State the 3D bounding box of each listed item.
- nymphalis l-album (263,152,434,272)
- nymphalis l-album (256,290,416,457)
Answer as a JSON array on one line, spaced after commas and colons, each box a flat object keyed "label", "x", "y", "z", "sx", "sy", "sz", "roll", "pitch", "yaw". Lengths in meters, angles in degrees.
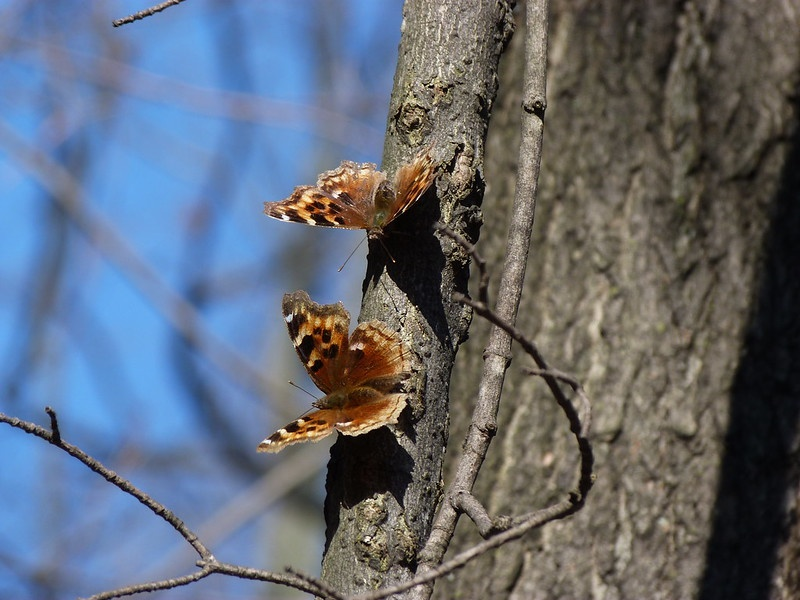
[{"label": "nymphalis l-album", "x": -0.165, "y": -0.406, "z": 5.882, "sx": 0.505, "sy": 0.396, "sz": 0.267, "roll": 11, "pitch": -14, "yaw": 39}, {"label": "nymphalis l-album", "x": -0.193, "y": 0.386, "z": 5.731, "sx": 0.519, "sy": 0.711, "sz": 0.331, "roll": -5, "pitch": -47, "yaw": -5}]
